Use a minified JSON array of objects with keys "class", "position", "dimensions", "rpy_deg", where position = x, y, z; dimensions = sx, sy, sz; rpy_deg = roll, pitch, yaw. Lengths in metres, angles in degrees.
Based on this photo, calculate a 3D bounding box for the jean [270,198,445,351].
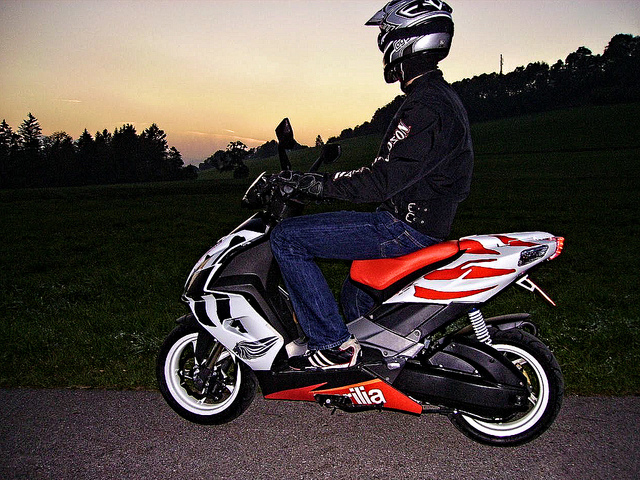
[{"class":"jean","position":[0.147,0.191,3.904],"dimensions":[1.540,1.076,0.813],"rpy_deg":[-1,2,2]}]

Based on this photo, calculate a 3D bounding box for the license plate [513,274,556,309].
[{"class":"license plate","position":[1.545,0.334,3.360],"dimensions":[0.238,0.222,0.287],"rpy_deg":[5,11,37]}]

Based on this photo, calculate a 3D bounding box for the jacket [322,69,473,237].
[{"class":"jacket","position":[0.614,-0.632,3.379],"dimensions":[0.986,1.233,0.419],"rpy_deg":[-1,8,4]}]

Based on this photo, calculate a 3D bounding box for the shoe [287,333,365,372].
[{"class":"shoe","position":[0.018,0.889,3.570],"dimensions":[0.574,0.244,0.197],"rpy_deg":[-7,-17,11]}]
